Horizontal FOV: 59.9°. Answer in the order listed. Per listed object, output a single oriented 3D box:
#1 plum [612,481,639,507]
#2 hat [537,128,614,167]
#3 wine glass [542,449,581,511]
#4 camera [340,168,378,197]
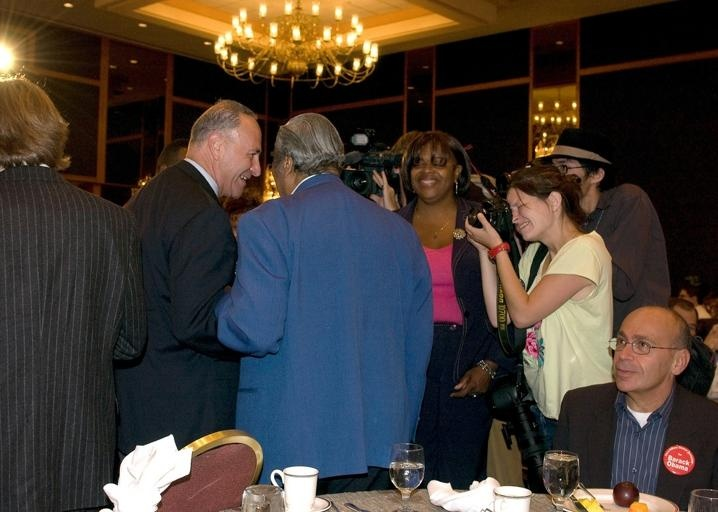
[{"bbox_3d":[0.853,0.757,1.988,0.066,0.070,0.070,0,-8,-2],"label":"plum"},{"bbox_3d":[1.258,-0.622,3.533,0.295,0.128,0.270,7,2,0],"label":"hat"},{"bbox_3d":[0.638,0.705,1.952,0.100,0.188,0.199,2,-6,18],"label":"wine glass"},{"bbox_3d":[0.008,-0.381,3.545,0.198,0.220,0.154,0,1,8],"label":"camera"}]
